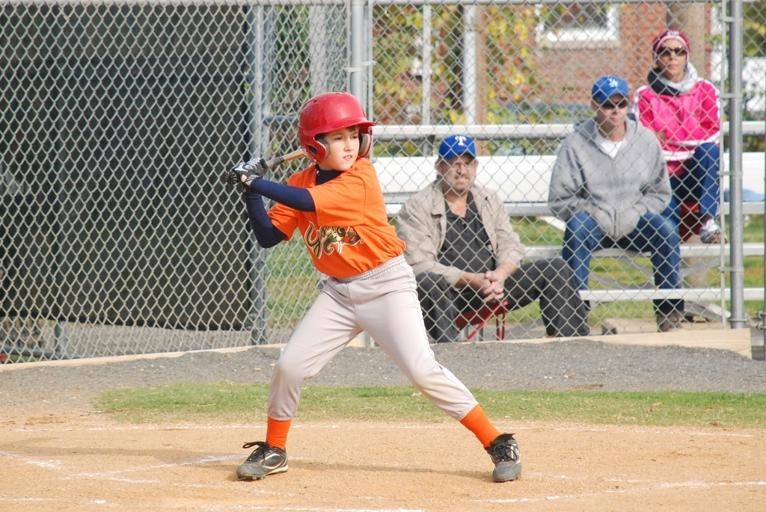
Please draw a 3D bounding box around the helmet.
[{"bbox_3d":[-0.312,-0.801,7.961,0.526,0.382,0.438,2,12,19],"label":"helmet"}]

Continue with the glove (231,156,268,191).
[{"bbox_3d":[-0.796,-0.495,7.747,0.185,0.176,0.191,-2,3,26],"label":"glove"}]

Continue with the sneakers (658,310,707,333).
[{"bbox_3d":[2.412,0.523,10.498,0.160,0.091,0.238,-7,12,-25],"label":"sneakers"}]

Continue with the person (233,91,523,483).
[{"bbox_3d":[-0.165,0.193,7.892,1.556,2.373,0.363,-3,3,1],"label":"person"}]

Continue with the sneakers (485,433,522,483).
[{"bbox_3d":[0.732,1.203,7.862,0.176,0.208,0.490,-12,12,14],"label":"sneakers"}]

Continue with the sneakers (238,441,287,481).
[{"bbox_3d":[-0.725,1.246,7.841,0.163,0.169,0.339,-2,-5,42],"label":"sneakers"}]

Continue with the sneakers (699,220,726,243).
[{"bbox_3d":[2.628,-0.200,10.351,0.091,0.159,0.114,17,-28,0],"label":"sneakers"}]
